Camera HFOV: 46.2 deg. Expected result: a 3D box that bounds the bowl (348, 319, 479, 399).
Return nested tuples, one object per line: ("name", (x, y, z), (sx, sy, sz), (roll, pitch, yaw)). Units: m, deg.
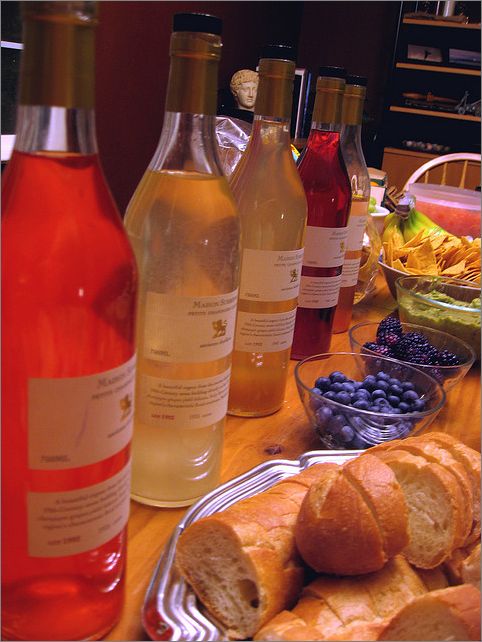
("bowl", (0.222, 0.031, 0.745), (0.127, 0.064, 0.125), (18, 11, -3))
